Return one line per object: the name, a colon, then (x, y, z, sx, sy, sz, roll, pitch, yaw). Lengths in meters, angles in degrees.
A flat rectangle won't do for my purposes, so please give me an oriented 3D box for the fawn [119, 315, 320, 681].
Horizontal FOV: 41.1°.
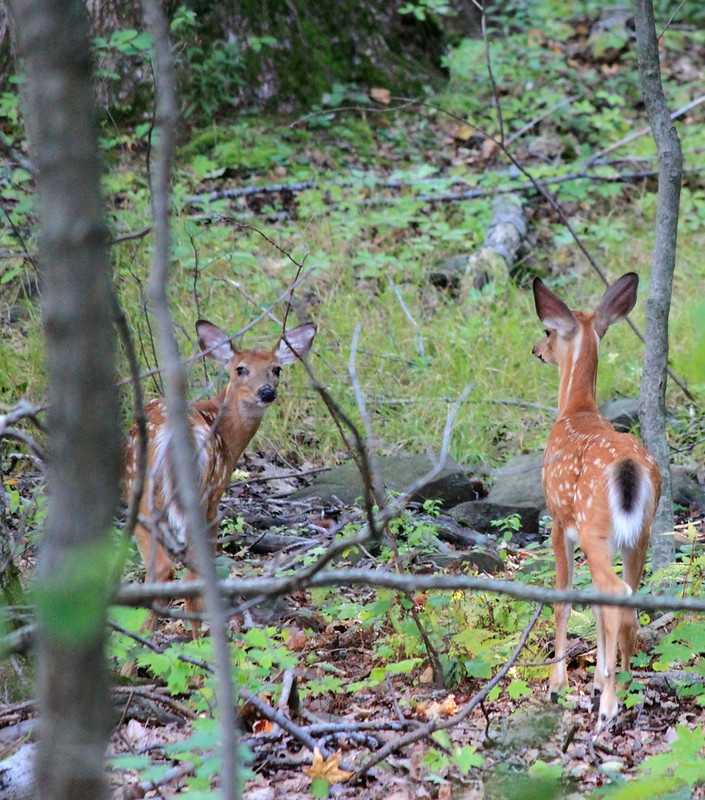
fawn: (-0.832, 0.518, 4.929, 0.582, 1.581, 1.932, 14, 8, 2)
